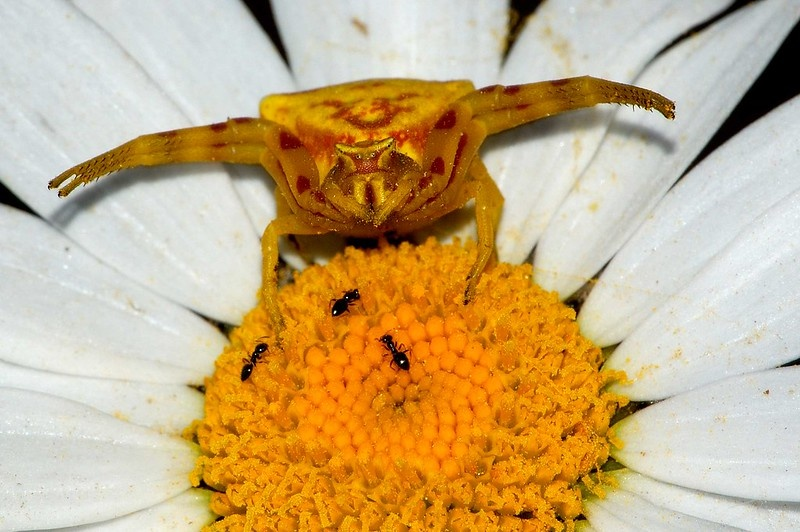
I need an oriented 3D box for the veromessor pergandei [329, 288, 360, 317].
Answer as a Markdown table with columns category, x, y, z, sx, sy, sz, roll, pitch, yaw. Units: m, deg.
| category | x | y | z | sx | sy | sz | roll | pitch | yaw |
| --- | --- | --- | --- | --- | --- | --- | --- | --- | --- |
| veromessor pergandei | -0.164 | 0.110 | 2.483 | 0.088 | 0.025 | 0.064 | -44 | 97 | -25 |
